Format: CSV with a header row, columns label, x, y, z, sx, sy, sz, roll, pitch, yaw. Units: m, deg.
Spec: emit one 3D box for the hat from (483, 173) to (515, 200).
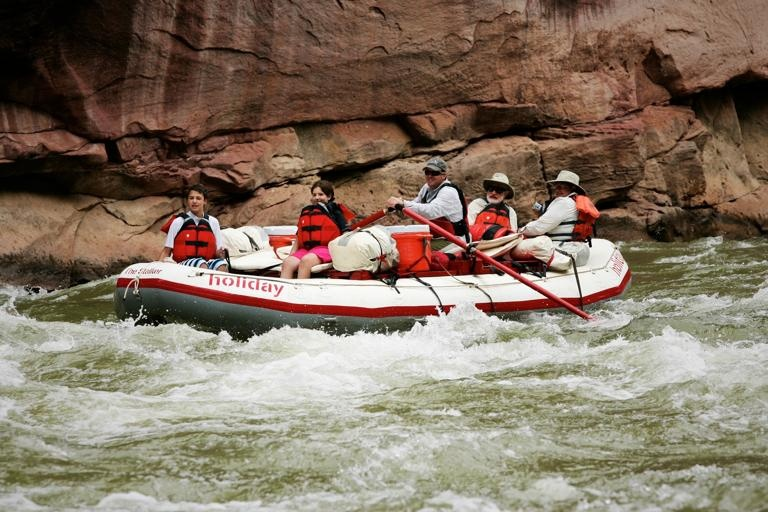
label,x,y,z,sx,sy,sz,roll,pitch,yaw
hat,1.747,-1.083,11.118,0.424,0.187,0.511,18,-17,18
